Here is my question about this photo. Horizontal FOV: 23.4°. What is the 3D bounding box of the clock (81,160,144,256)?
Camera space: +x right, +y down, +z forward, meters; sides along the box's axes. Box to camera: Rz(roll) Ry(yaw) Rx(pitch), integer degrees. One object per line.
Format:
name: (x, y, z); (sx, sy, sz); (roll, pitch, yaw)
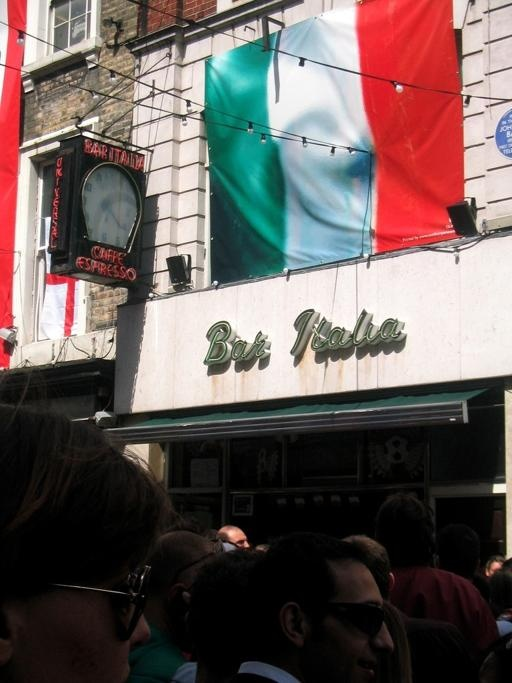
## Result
clock: (-1.534, -1.382, 13.062); (0.098, 1.155, 0.859); (-9, -12, 36)

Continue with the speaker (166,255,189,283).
speaker: (-0.799, -0.751, 12.933); (0.224, 0.338, 0.172); (-2, 12, 30)

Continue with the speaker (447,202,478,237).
speaker: (1.698, -0.984, 10.177); (0.233, 0.271, 0.225); (-2, -9, 24)
